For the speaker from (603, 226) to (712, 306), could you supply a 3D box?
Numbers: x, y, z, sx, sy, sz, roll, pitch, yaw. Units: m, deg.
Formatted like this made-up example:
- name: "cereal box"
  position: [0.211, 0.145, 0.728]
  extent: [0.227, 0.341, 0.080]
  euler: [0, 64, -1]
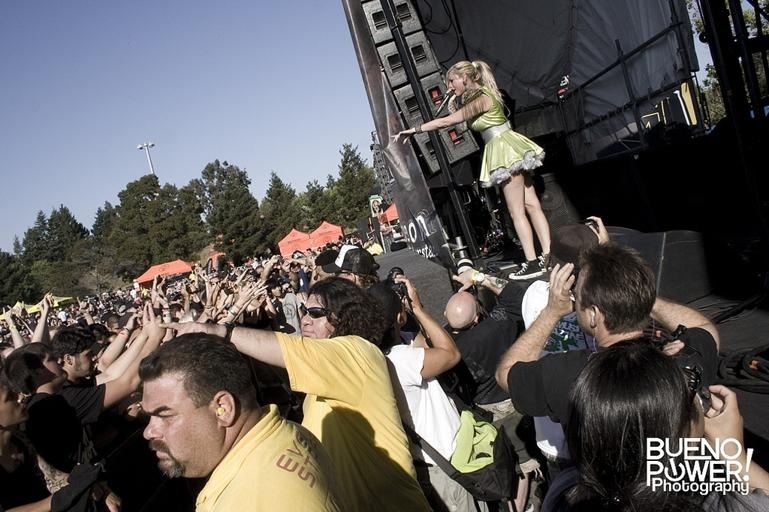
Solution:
- name: "speaker"
  position: [2.597, 0.091, 3.462]
  extent: [0.653, 0.639, 0.859]
  euler: [-4, 5, -3]

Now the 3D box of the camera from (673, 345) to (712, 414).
- name: "camera"
  position: [1.304, 0.502, 1.595]
  extent: [0.137, 0.253, 0.184]
  euler: [-13, 2, 30]

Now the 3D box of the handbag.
- name: "handbag"
  position: [0.619, 1.291, 2.546]
  extent: [0.510, 0.198, 0.423]
  euler: [26, 73, 39]

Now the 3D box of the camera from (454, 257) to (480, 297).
- name: "camera"
  position: [0.825, 0.203, 3.809]
  extent: [0.185, 0.134, 0.433]
  euler: [-39, 5, 8]

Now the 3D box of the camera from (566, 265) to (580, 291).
- name: "camera"
  position: [1.046, 0.116, 2.099]
  extent: [0.058, 0.162, 0.116]
  euler: [-3, -16, 45]
